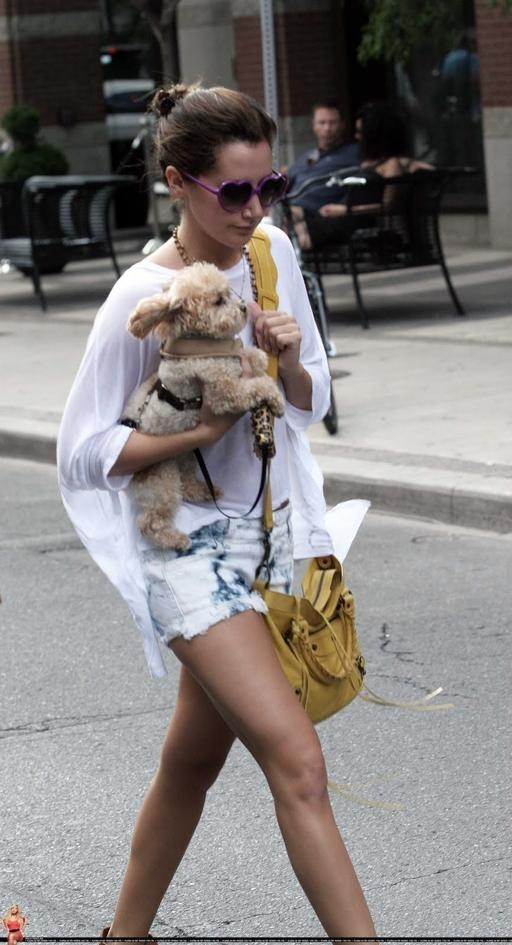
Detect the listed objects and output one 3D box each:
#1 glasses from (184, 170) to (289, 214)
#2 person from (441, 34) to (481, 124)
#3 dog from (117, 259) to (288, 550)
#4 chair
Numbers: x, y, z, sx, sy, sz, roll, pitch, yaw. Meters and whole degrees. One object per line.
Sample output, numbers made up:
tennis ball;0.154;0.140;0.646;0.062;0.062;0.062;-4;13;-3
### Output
glasses;-0.008;-0.478;1.516;0.128;0.074;0.251;6;16;34
person;3.875;-7.501;17.005;0.370;1.528;0.803;-10;14;-24
dog;-0.094;-0.100;1.456;0.276;0.470;0.204;-3;13;1
chair;1.646;-2.917;11.913;2.154;1.891;2.135;-4;2;-22
